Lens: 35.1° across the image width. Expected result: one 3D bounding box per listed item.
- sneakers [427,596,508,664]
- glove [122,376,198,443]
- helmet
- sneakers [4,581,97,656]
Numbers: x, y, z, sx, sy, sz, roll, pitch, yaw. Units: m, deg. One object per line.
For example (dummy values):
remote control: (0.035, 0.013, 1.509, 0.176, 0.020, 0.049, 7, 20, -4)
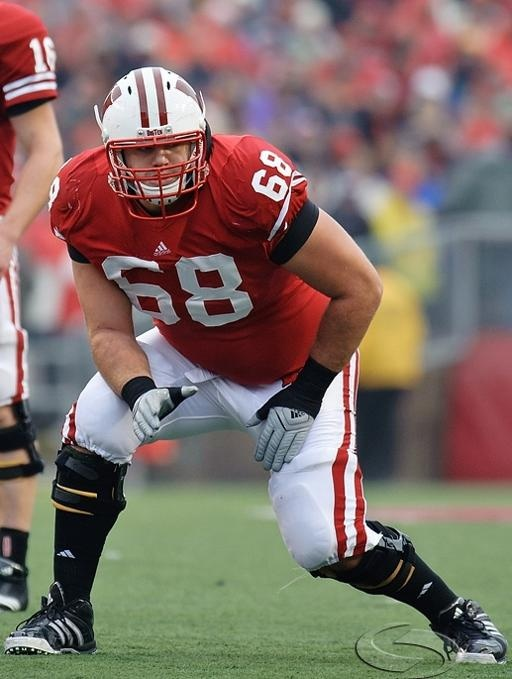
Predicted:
sneakers: (0.415, 0.567, 1.607, 0.073, 0.082, 0.178, -12, 21, -18)
glove: (-0.197, 0.134, 1.561, 0.117, 0.132, 0.167, 7, -11, -16)
helmet: (-0.179, -0.378, 1.540, 0.263, 0.236, 0.295, -7, 32, -2)
sneakers: (-0.435, 0.540, 1.533, 0.227, 0.083, 0.121, 14, 54, -30)
